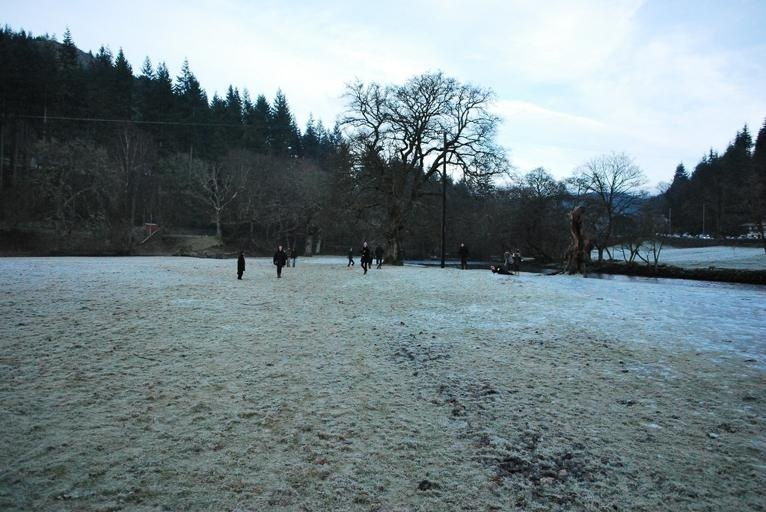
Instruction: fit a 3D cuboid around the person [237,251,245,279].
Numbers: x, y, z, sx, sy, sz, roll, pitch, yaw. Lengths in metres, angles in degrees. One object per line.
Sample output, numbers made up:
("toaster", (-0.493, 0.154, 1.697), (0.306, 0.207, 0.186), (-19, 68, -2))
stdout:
("person", (-7.253, 0.470, 29.536), (0.316, 1.331, 0.919), (2, 3, -18))
